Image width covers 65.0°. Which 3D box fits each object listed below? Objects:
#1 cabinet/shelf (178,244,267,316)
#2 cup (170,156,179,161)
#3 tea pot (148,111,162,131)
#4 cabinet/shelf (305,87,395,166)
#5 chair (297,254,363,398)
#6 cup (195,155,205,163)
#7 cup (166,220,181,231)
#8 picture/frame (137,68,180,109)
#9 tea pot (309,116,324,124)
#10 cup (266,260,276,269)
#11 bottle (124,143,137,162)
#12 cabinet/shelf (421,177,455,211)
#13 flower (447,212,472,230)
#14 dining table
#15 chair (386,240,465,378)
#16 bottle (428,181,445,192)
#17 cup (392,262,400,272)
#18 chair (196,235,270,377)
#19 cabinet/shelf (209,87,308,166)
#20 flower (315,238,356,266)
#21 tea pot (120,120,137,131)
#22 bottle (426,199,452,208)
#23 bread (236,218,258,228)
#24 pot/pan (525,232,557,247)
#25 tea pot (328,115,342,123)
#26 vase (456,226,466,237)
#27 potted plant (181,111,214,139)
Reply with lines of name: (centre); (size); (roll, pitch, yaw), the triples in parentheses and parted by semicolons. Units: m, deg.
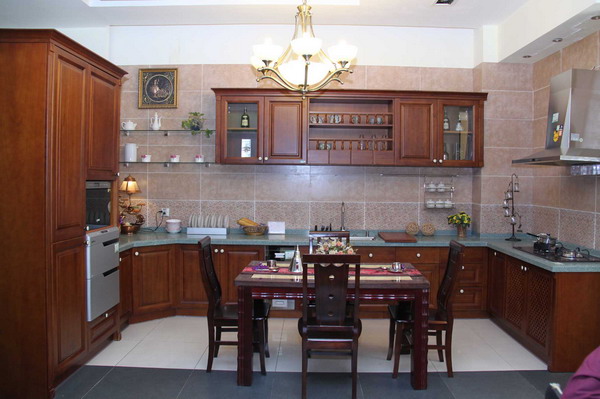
cabinet/shelf: (-1.017, 1.109, 6.676); (1.441, 1.135, 0.514); (1, -19, -12)
cup: (-1.833, -0.586, 6.847); (0.137, 0.095, 0.073); (1, 10, 7)
tea pot: (-2.125, -1.143, 6.867); (0.158, 0.275, 0.183); (-2, 5, -8)
cabinet/shelf: (0.686, -1.006, 6.645); (1.204, 0.938, 0.378); (0, -3, -1)
chair: (0.296, 1.277, 5.052); (0.651, 1.532, 0.758); (-1, 5, 1)
cup: (-1.481, -0.593, 6.862); (0.134, 0.113, 0.169); (-2, 5, -14)
cup: (-1.837, 0.378, 6.806); (0.160, 0.120, 0.174); (0, -4, 0)
picture/frame: (-2.073, -1.654, 6.898); (0.627, 0.598, 0.048); (0, -2, 1)
tea pot: (0.228, -1.146, 6.682); (0.227, 0.125, 0.113); (-2, 5, -5)
cup: (-0.342, 0.739, 5.357); (0.088, 0.078, 0.080); (-1, -4, 0)
bottle: (-2.453, -0.671, 6.776); (0.263, 0.293, 0.190); (-1, 4, -36)
cabinet/shelf: (2.007, -0.096, 6.957); (0.509, 0.507, 0.219); (1, -5, -1)
flower: (2.274, 0.315, 6.824); (0.270, 0.174, 0.262); (3, -3, -30)
dining table: (0.326, 1.481, 5.567); (2.065, 0.986, 1.382); (1, -10, -3)
chair: (1.387, 1.243, 5.444); (0.995, 1.390, 0.932); (-1, 0, -13)
bottle: (1.985, -0.179, 6.917); (0.228, 0.147, 0.138); (0, 3, 10)
cup: (1.082, 0.776, 5.360); (0.098, 0.089, 0.074); (-1, -1, 12)
chair: (-0.729, 1.224, 5.403); (0.786, 1.236, 0.659); (0, 2, -8)
cabinet/shelf: (-0.546, -1.022, 6.540); (1.147, 0.784, 0.374); (0, -1, 1)
flower: (0.344, 0.563, 5.145); (0.282, 0.181, 0.300); (-2, 4, -18)
tea pot: (-2.491, -1.071, 6.808); (0.212, 0.134, 0.139); (-2, 6, -20)
bottle: (2.034, 0.072, 6.931); (0.415, 0.138, 0.180); (-1, 4, 7)
bread: (-0.778, 0.343, 6.735); (0.202, 0.092, 0.149); (9, 7, -8)
pot/pan: (2.959, 0.471, 5.853); (0.214, 0.110, 0.293); (8, 0, -35)
tea pot: (0.470, -1.140, 6.660); (0.203, 0.136, 0.108); (0, 5, 8)
vase: (2.308, 0.465, 6.809); (0.155, 0.165, 0.152); (1, 1, 11)
potted plant: (-1.511, -1.088, 6.828); (0.463, 0.372, 0.275); (-2, 5, -9)
